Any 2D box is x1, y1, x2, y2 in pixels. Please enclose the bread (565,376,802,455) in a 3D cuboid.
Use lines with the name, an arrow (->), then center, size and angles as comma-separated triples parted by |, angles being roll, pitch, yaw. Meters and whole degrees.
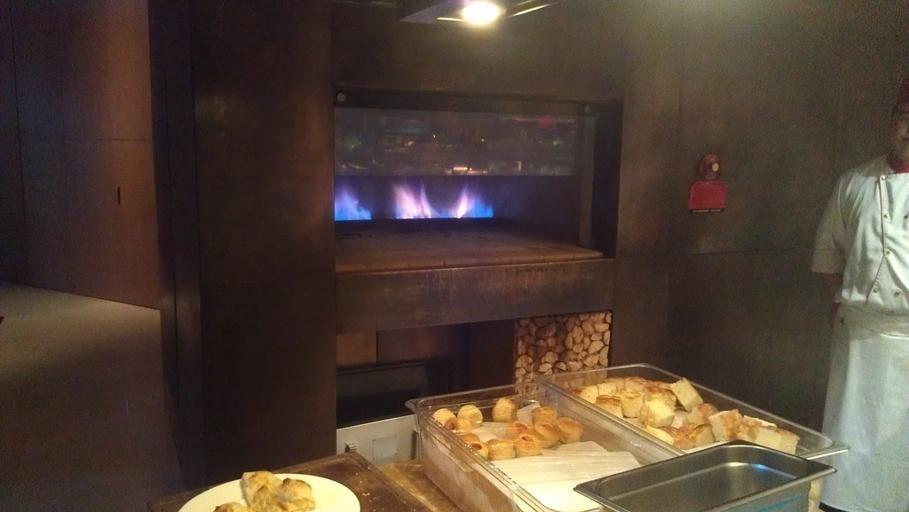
bread -> 0.838, 0.600, 2.413 | 0.766, 0.197, 0.403 | 3, 10, 41
